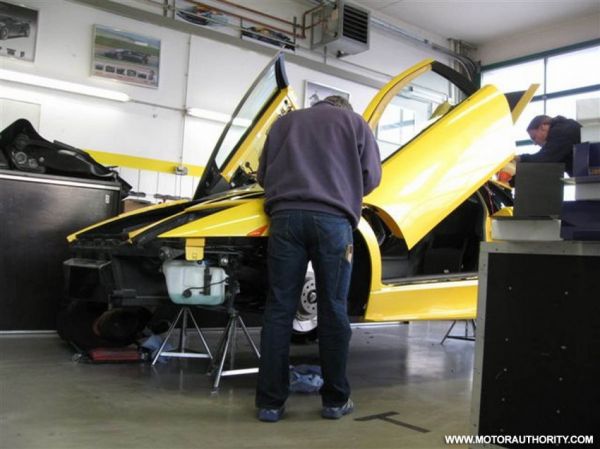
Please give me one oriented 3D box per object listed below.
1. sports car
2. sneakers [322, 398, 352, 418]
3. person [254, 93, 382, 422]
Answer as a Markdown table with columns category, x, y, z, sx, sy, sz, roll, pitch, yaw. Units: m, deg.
| category | x | y | z | sx | sy | sz | roll | pitch | yaw |
| --- | --- | --- | --- | --- | --- | --- | --- | --- | --- |
| sports car | 0.167 | -0.326 | 4.586 | 4.207 | 2.153 | 2.589 | 2 | -5 | -22 |
| sneakers | 0.224 | 1.114 | 2.937 | 0.081 | 0.083 | 0.189 | -1 | 1 | 35 |
| person | 0.105 | 0.213 | 3.032 | 0.731 | 1.901 | 0.341 | 3 | -3 | -10 |
